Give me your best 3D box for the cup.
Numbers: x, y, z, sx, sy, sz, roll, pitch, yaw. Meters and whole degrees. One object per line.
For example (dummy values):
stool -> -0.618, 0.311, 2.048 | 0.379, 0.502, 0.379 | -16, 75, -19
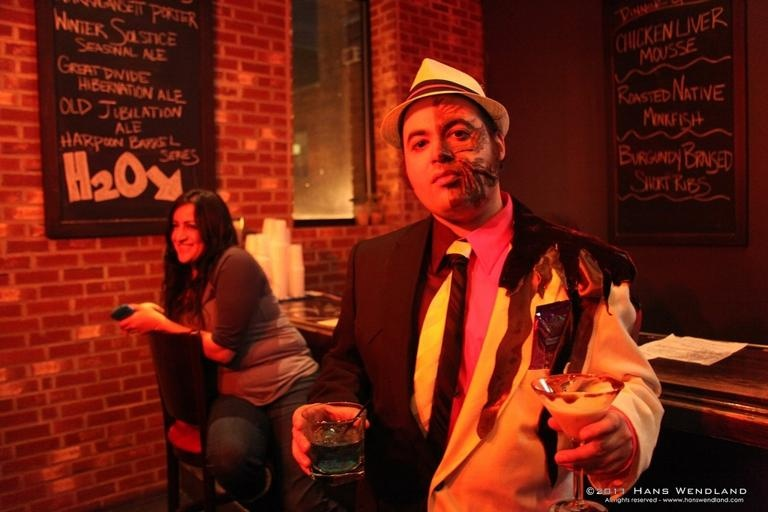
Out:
cup -> -0.158, 0.634, 1.952 | 0.242, 0.242, 0.239 | 0, -5, 0

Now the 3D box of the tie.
tie -> 0.213, 0.326, 1.872 | 0.134, 0.723, 0.107 | 3, -23, 17

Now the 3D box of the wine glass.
wine glass -> 0.538, 0.559, 1.786 | 0.370, 0.422, 0.373 | 0, -6, 0
